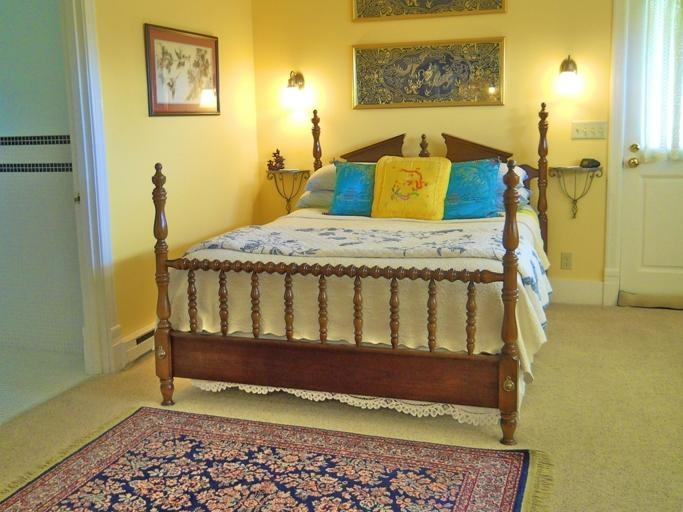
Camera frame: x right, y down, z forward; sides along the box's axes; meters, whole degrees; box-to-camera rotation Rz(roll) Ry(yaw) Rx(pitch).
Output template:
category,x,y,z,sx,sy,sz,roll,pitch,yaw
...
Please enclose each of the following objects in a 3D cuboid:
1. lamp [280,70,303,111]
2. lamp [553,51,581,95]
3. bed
category,x,y,z,sx,sy,sz,roll,pitch,yaw
lamp,-0.410,-1.427,5.017,0.190,0.304,0.075,3,15,11
lamp,1.735,-1.451,4.506,0.128,0.190,0.129,7,-6,1
bed,0.245,0.053,3.721,2.040,1.353,1.957,3,13,19
